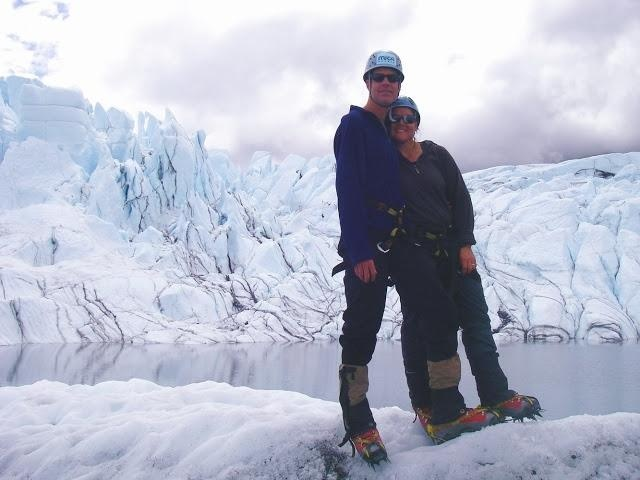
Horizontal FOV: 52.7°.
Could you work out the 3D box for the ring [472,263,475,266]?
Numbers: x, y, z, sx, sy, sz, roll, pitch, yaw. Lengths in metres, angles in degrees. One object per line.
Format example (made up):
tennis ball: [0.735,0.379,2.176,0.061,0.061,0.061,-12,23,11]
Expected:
ring: [4.022,0.647,16.837,0.061,0.064,0.018,-2,-19,-6]
